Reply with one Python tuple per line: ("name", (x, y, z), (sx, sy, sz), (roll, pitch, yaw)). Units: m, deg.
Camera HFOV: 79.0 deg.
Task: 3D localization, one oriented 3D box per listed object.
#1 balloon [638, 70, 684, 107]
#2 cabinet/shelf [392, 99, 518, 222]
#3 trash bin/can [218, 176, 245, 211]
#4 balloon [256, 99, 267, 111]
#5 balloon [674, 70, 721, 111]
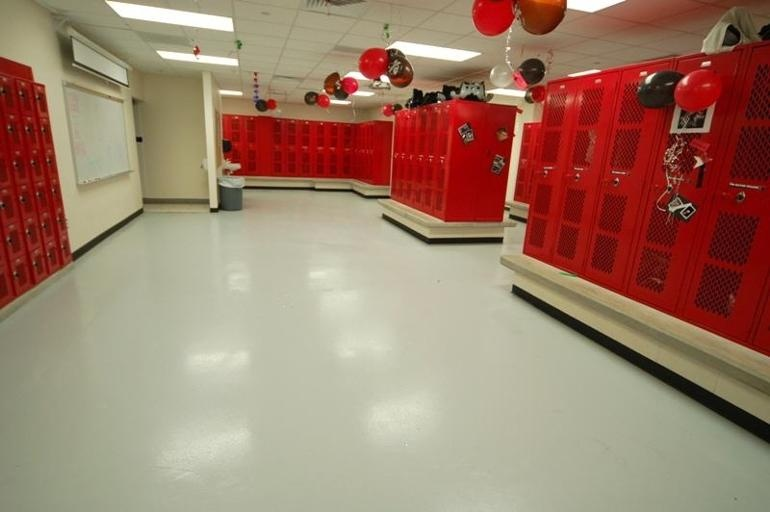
("balloon", (2.811, -1.735, 4.936), (0.443, 0.326, 0.329), (-11, -14, 10))
("cabinet/shelf", (1.181, -2.028, 9.625), (1.216, 2.306, 2.478), (-13, 23, -36))
("trash bin/can", (-3.854, -1.639, 12.019), (0.829, 0.885, 0.802), (-10, 13, -43))
("balloon", (-3.741, -4.619, 14.203), (0.345, 0.314, 0.835), (-4, 19, -13))
("balloon", (3.055, -1.617, 4.536), (0.343, 0.267, 0.262), (-34, 24, 30))
